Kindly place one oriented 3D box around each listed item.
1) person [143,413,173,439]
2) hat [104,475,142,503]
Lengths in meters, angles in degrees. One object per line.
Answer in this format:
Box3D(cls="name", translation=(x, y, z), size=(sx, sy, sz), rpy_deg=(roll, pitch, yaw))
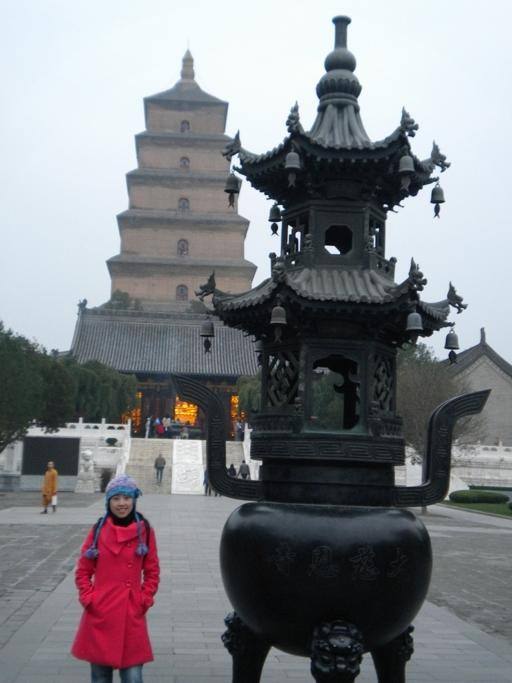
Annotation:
Box3D(cls="person", translation=(-5.094, 4.523, 36.294), size=(1.482, 0.960, 1.595), rpy_deg=(-1, -3, 40))
Box3D(cls="hat", translation=(-0.611, 0.686, 3.211), size=(0.134, 0.126, 0.154), rpy_deg=(2, -14, -4))
